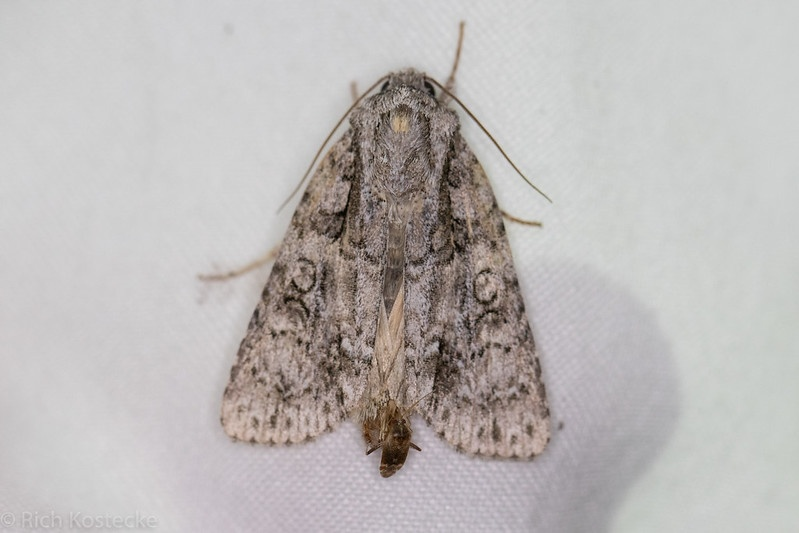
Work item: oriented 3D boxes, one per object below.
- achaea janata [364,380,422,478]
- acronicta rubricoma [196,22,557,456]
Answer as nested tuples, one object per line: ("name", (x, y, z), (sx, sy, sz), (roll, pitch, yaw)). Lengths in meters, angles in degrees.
("achaea janata", (-0.032, 0.735, 4.497), (0.259, 0.316, 0.193), (1, 32, 0))
("acronicta rubricoma", (-0.022, 0.008, 4.502), (1.385, 1.282, 0.883), (2, 32, 1))
